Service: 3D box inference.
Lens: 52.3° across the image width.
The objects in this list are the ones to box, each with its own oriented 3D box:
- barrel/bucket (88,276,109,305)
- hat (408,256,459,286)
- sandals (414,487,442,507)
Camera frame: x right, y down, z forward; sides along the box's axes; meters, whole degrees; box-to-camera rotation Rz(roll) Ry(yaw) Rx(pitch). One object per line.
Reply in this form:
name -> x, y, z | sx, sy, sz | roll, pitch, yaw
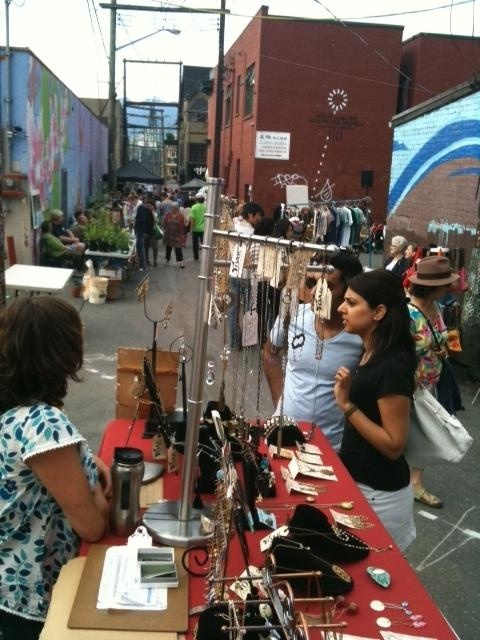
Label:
barrel/bucket -> -2.838, -0.561, 9.827 | 0.459, 0.529, 0.475 | 5, 4, 0
hat -> 1.607, -0.376, 3.962 | 0.337, 0.137, 0.291 | -4, 7, -33
sandals -> 1.537, 1.467, 4.006 | 0.253, 0.101, 0.108 | 12, 19, 39
